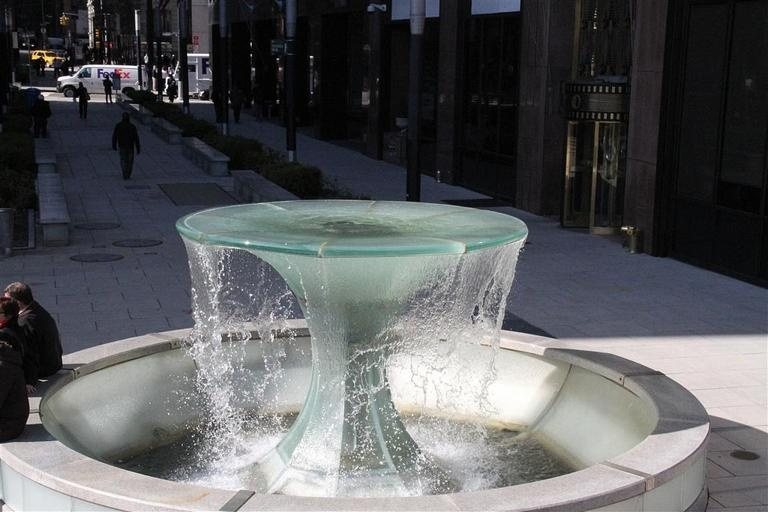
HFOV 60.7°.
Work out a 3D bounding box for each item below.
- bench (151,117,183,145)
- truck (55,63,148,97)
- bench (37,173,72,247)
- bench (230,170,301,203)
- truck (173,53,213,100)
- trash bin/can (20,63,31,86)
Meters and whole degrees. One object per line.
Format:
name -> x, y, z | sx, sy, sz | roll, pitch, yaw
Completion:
bench -> -11.697, -6.685, 35.457 | 0.657, 1.079, 5.399 | -6, 15, -26
truck -> -27.934, -17.255, 65.250 | 3.709, 3.199, 8.847 | 5, 14, 17
bench -> -8.332, -1.128, 16.568 | 0.406, 0.412, 2.408 | -3, 24, -15
bench -> -3.780, -1.905, 19.949 | 0.836, 0.722, 5.594 | -5, 15, -23
truck -> -17.363, -16.881, 61.873 | 1.983, 3.999, 3.406 | -3, 14, -16
trash bin/can -> -40.453, -20.186, 73.708 | 0.956, 2.100, 3.762 | -7, 16, -31
